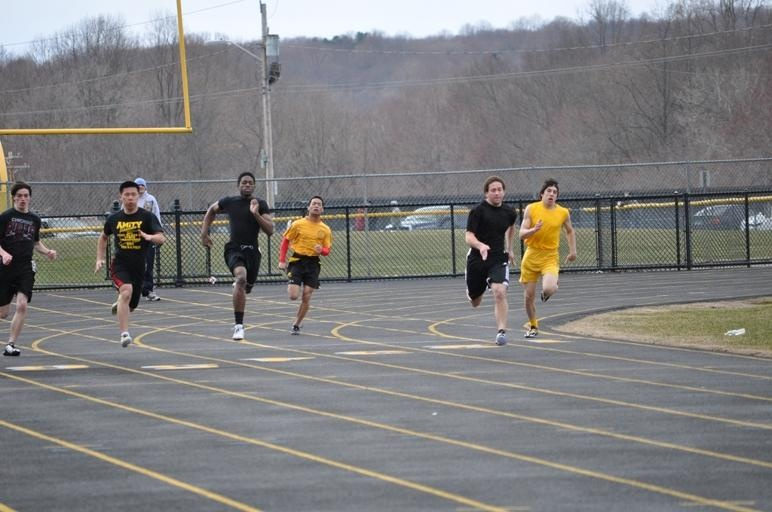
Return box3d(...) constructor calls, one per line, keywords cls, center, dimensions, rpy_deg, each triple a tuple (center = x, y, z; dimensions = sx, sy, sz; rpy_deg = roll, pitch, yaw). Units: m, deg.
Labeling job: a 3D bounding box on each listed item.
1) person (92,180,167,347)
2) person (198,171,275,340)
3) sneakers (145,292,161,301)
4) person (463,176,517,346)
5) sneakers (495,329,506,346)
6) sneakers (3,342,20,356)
box3d(cls="person", center=(-3.690, 0.088, 13.154), dimensions=(0.957, 2.298, 0.695), rpy_deg=(-3, 6, -13))
box3d(cls="person", center=(-2.362, 0.010, 14.600), dimensions=(1.095, 2.658, 1.597), rpy_deg=(-3, 6, -11))
box3d(cls="sneakers", center=(-5.114, 0.886, 19.959), dimensions=(0.162, 0.172, 0.438), rpy_deg=(0, -1, -39))
box3d(cls="person", center=(1.567, 0.081, 13.669), dimensions=(0.749, 2.504, 1.298), rpy_deg=(-1, 6, 6))
box3d(cls="sneakers", center=(1.701, 1.187, 13.552), dimensions=(0.153, 0.229, 0.351), rpy_deg=(-1, 6, 9))
box3d(cls="sneakers", center=(-5.347, 1.325, 13.008), dimensions=(0.402, 0.181, 0.147), rpy_deg=(0, 1, 43))
